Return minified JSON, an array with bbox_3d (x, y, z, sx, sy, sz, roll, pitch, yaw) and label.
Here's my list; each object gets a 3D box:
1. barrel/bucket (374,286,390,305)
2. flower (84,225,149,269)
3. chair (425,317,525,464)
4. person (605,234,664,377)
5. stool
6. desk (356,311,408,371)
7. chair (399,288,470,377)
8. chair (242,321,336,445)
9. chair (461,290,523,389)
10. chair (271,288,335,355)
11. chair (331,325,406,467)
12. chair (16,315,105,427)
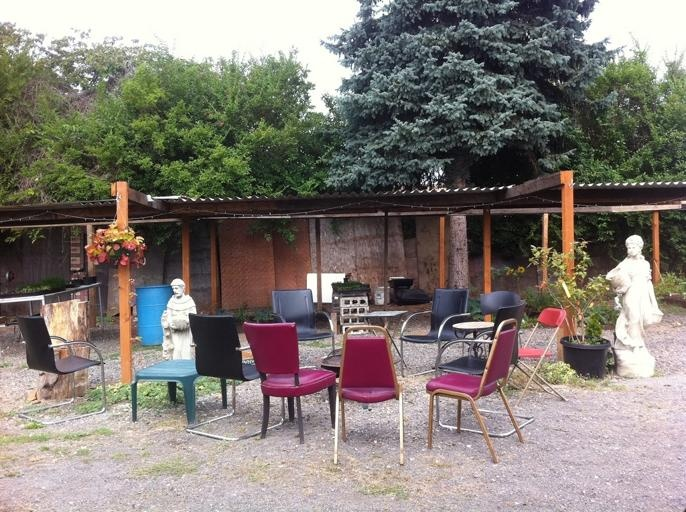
[{"bbox_3d":[0.874,0.881,13.520,0.384,0.433,0.401,1,-2,0],"label":"barrel/bucket"},{"bbox_3d":[-3.315,-0.132,8.864,0.693,0.486,0.694,1,1,-41],"label":"flower"},{"bbox_3d":[1.555,1.435,7.057,1.119,1.435,1.103,3,14,18],"label":"chair"},{"bbox_3d":[4.243,0.726,8.810,0.648,1.969,0.690,-5,14,-16],"label":"person"},{"bbox_3d":[-2.347,1.849,7.777,1.092,0.651,1.077,-8,-12,39],"label":"stool"},{"bbox_3d":[0.646,1.452,9.985,0.740,0.922,0.836,-16,-1,33],"label":"desk"},{"bbox_3d":[1.387,1.160,9.069,0.969,1.311,0.885,-2,-1,-25],"label":"chair"},{"bbox_3d":[-0.632,1.432,7.170,1.033,1.452,0.636,-3,13,-7],"label":"chair"},{"bbox_3d":[2.098,1.111,8.429,0.958,1.481,1.187,2,-3,-13],"label":"chair"},{"bbox_3d":[-0.639,1.137,9.353,1.025,1.216,1.002,-2,0,38],"label":"chair"},{"bbox_3d":[0.303,1.465,7.088,0.830,1.553,1.254,-1,13,3],"label":"chair"},{"bbox_3d":[-3.735,1.464,8.039,0.792,1.340,0.907,1,1,41],"label":"chair"}]
